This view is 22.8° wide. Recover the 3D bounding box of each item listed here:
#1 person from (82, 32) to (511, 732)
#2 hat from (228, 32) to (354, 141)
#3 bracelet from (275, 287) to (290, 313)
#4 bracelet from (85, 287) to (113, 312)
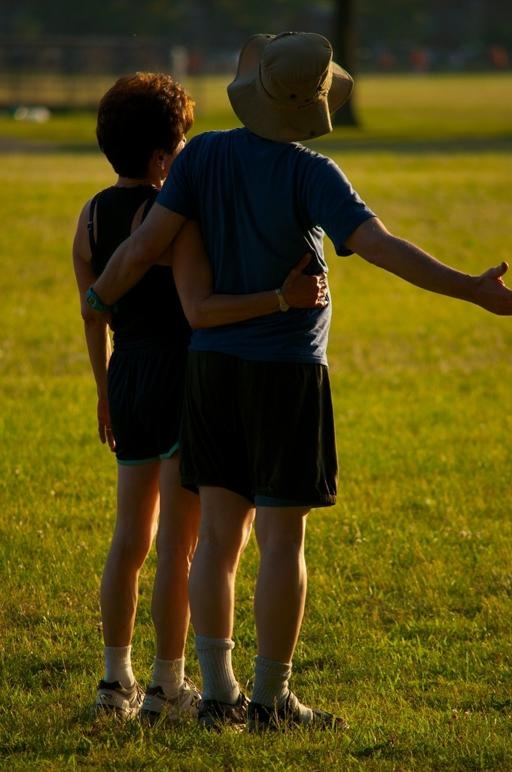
[{"bbox_3d":[0.042,0.014,3.861,1.070,2.105,0.460,1,11,5],"label":"person"},{"bbox_3d":[0.104,-0.883,3.712,0.335,0.347,0.192,-4,-23,-1],"label":"hat"},{"bbox_3d":[0.078,-0.244,3.732,0.046,0.053,0.049,-22,-22,3],"label":"bracelet"},{"bbox_3d":[-0.494,-0.271,4.043,0.072,0.043,0.069,9,22,4],"label":"bracelet"}]
